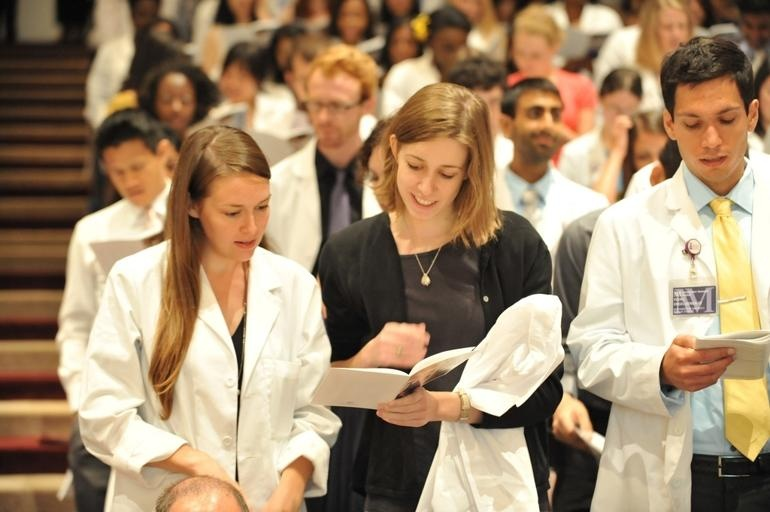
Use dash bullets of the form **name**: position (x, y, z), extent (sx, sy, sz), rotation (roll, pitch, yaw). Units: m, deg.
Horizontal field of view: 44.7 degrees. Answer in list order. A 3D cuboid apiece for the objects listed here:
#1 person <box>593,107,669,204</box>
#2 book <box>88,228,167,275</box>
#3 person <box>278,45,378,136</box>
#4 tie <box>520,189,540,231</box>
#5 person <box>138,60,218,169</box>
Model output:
- **person**: position (1.865, -0.809, 7.167), extent (0.248, 0.729, 0.516), rotation (10, 10, -33)
- **book**: position (-1.539, -0.022, 5.592), extent (0.282, 0.277, 0.043), rotation (-17, -19, -24)
- **person**: position (-0.304, -1.285, 6.768), extent (0.636, 0.842, 0.840), rotation (8, 17, 12)
- **tie**: position (1.003, -0.336, 6.503), extent (0.150, 0.278, 0.073), rotation (-8, -16, -1)
- **person**: position (-1.631, -1.172, 7.346), extent (0.655, 0.778, 0.723), rotation (0, 6, -24)
